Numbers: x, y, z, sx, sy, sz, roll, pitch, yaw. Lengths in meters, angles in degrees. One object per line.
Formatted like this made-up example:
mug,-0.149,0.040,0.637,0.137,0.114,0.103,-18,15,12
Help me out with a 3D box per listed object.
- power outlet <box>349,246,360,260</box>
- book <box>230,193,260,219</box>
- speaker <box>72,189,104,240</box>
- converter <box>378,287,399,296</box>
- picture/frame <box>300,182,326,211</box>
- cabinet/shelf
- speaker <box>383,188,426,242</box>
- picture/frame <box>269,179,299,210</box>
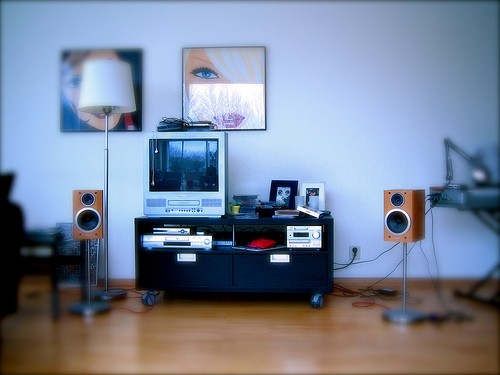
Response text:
power outlet,0.949,0.593,4.391,0.123,0.137,0.015,1,-4,0
book,-0.049,0.157,4.101,0.169,0.127,0.215,2,9,3
speaker,-1.288,0.218,3.849,0.228,0.388,0.089,-2,11,-5
converter,1.190,0.900,4.201,0.102,0.034,0.073,2,0,28
picture/frame,0.536,0.082,4.159,0.239,0.270,0.029,2,-11,2
cabinet/shelf,-0.132,0.631,4.198,1.580,0.720,0.614,1,-4,-1
speaker,1.189,0.210,3.709,0.334,0.408,0.299,0,10,5
picture/frame,0.300,0.066,4.251,0.250,0.288,0.020,4,-21,15
